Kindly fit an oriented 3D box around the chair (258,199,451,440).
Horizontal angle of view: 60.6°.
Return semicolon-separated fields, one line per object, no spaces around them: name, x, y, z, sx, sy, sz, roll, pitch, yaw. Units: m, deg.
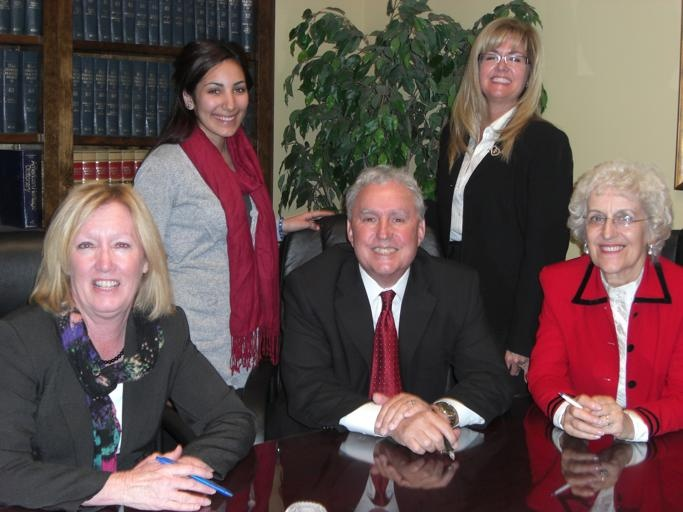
chair;-0.120;0.204;2.340;0.672;1.011;0.777;2;-3;-2

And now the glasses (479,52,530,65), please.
glasses;0.699;-0.845;2.515;0.200;0.052;0.038;1;8;14

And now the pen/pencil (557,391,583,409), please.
pen/pencil;0.640;0.406;1.648;0.097;0.025;0.020;36;37;-14

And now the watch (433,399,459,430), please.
watch;0.309;0.463;1.709;0.056;0.023;0.063;1;47;-25

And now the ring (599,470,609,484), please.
ring;0.627;0.523;1.385;0.013;0.007;0.019;-2;45;-2

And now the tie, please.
tie;0.158;0.292;1.981;0.100;0.336;0.153;2;8;17

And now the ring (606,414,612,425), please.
ring;0.730;0.448;1.595;0.016;0.016;0.004;2;-5;-26
